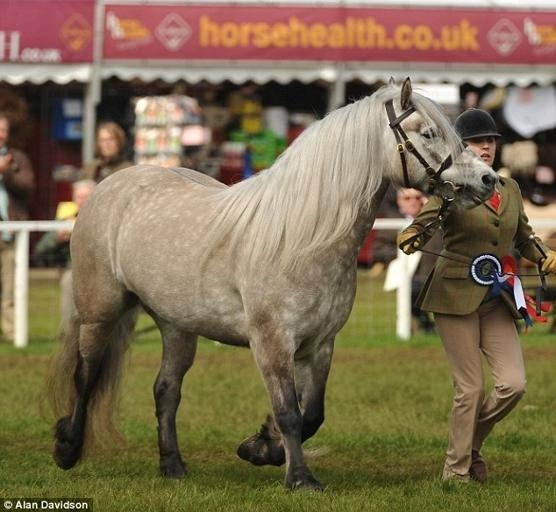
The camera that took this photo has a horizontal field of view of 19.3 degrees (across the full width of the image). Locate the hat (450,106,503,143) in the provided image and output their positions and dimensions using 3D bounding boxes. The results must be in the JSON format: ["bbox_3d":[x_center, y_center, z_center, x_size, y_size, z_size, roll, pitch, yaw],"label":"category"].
[{"bbox_3d":[1.474,-1.017,12.424,0.357,0.238,0.424,-5,4,6],"label":"hat"}]

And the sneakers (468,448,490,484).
[{"bbox_3d":[1.488,1.600,12.273,0.145,0.226,0.085,5,-9,-12],"label":"sneakers"}]

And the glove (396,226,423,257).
[{"bbox_3d":[0.977,-0.120,12.147,0.168,0.112,0.232,28,39,31],"label":"glove"}]
